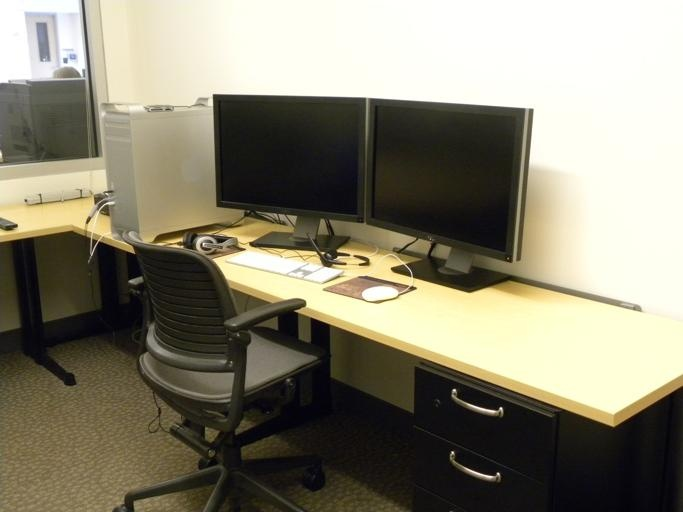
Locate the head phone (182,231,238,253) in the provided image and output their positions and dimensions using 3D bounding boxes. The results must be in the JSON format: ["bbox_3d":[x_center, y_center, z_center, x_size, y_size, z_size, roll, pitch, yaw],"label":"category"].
[{"bbox_3d":[-0.564,-0.079,2.418,0.147,0.050,0.129,-6,9,-41],"label":"head phone"}]

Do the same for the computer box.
[{"bbox_3d":[-0.829,-0.428,2.699,0.572,0.575,0.385,-8,17,-41],"label":"computer box"}]

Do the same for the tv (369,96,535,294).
[{"bbox_3d":[0.411,-0.232,2.020,0.666,0.586,0.253,17,26,42],"label":"tv"}]

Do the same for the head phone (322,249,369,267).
[{"bbox_3d":[0.022,0.012,2.317,0.106,0.028,0.086,8,16,24],"label":"head phone"}]

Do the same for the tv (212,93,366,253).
[{"bbox_3d":[-0.214,-0.374,2.415,0.702,0.568,0.279,8,20,22],"label":"tv"}]

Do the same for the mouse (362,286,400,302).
[{"bbox_3d":[0.140,0.125,1.928,0.085,0.018,0.062,-6,15,-34],"label":"mouse"}]
